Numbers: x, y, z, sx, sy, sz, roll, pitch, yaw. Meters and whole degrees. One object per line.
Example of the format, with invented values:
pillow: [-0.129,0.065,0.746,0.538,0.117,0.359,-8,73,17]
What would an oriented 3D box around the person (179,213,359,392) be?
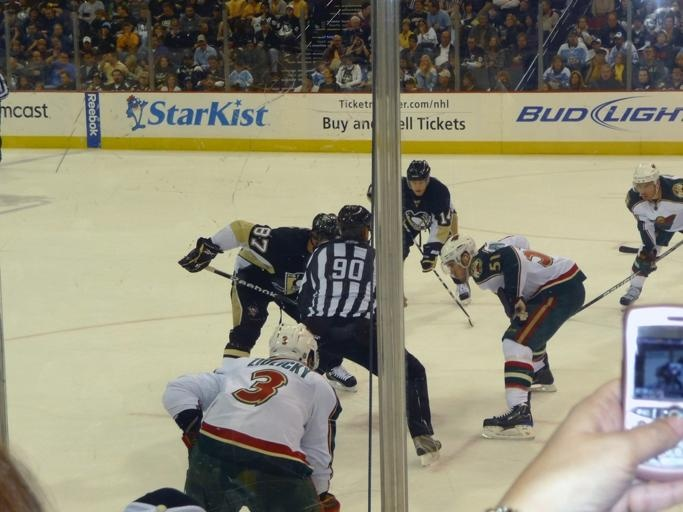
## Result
person: [-0.345,0.221,6.927,1.192,1.000,0.500,8,16,-10]

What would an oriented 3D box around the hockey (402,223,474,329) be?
hockey: [0.601,0.138,8.017,0.064,1.315,0.058,-32,42,13]

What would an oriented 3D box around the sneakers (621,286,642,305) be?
sneakers: [1.912,0.268,8.470,0.065,0.079,0.197,10,26,37]

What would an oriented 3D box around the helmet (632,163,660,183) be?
helmet: [2.001,-0.542,8.351,0.124,0.141,0.155,-3,11,31]

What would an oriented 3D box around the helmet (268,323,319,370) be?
helmet: [-0.237,0.449,6.439,0.204,0.240,0.249,4,-1,12]

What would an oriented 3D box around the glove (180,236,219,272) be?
glove: [-0.761,-0.009,6.920,0.164,0.204,0.084,41,4,-1]

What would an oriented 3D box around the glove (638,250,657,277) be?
glove: [2.039,0.054,8.444,0.122,0.136,0.076,-14,-7,32]

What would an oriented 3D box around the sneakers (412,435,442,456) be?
sneakers: [0.456,1.021,6.889,0.074,0.073,0.178,-6,9,22]

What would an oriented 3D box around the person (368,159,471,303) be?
person: [0.555,-0.217,8.155,0.519,0.751,0.431,3,14,39]

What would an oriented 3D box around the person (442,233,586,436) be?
person: [1.004,0.397,7.481,0.917,1.011,0.913,-1,10,21]
